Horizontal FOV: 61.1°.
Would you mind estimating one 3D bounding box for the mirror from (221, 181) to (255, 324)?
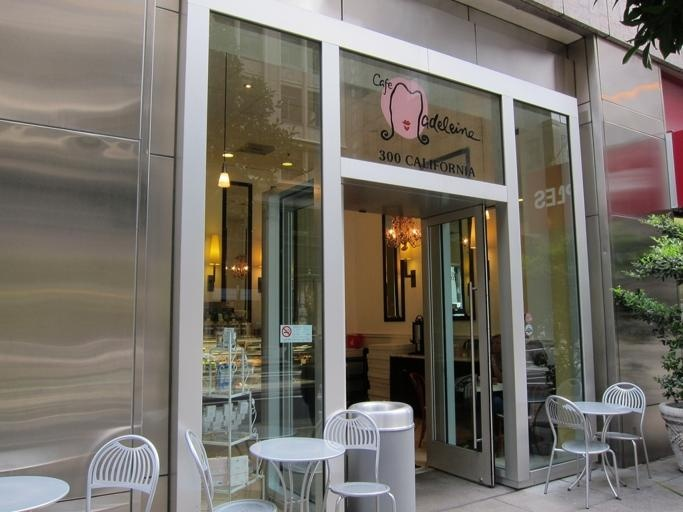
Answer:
[{"bbox_3d":[-0.903,0.099,5.053,0.215,1.027,0.035,0,25,-14],"label":"mirror"}]

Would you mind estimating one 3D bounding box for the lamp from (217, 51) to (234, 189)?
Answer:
[{"bbox_3d":[-1.031,-1.178,5.053,0.119,1.202,0.111,0,0,-19],"label":"lamp"}]

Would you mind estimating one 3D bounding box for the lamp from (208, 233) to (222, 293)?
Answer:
[{"bbox_3d":[-1.083,0.078,4.914,0.116,0.536,0.066,0,0,-18],"label":"lamp"}]

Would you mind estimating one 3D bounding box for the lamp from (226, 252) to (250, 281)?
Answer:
[{"bbox_3d":[-0.893,0.091,5.017,0.182,0.259,0.193,0,-2,-3],"label":"lamp"}]

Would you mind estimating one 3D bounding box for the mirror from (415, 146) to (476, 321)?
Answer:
[{"bbox_3d":[1.192,-0.308,6.546,0.599,1.867,1.059,0,0,13],"label":"mirror"}]
